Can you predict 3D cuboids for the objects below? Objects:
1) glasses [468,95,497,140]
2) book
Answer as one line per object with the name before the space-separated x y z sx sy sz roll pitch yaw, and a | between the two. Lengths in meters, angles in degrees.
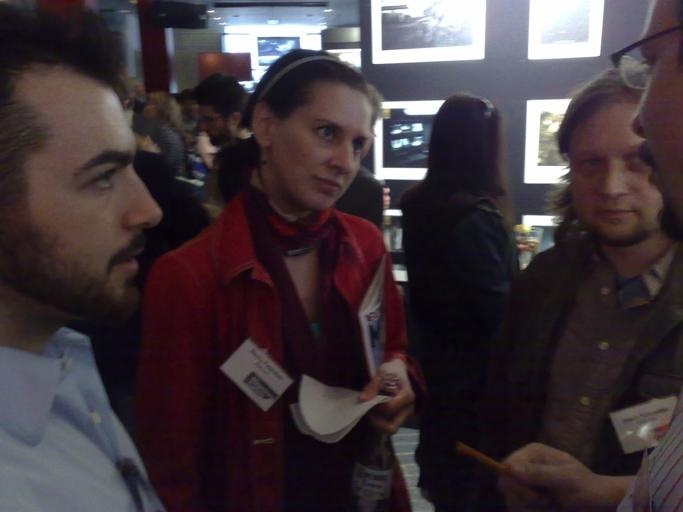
glasses | 0.406 -0.393 1.829 0.067 0.095 0.032 6 38 18
book | 0.085 0.170 1.917 0.038 0.316 0.357 2 6 17
